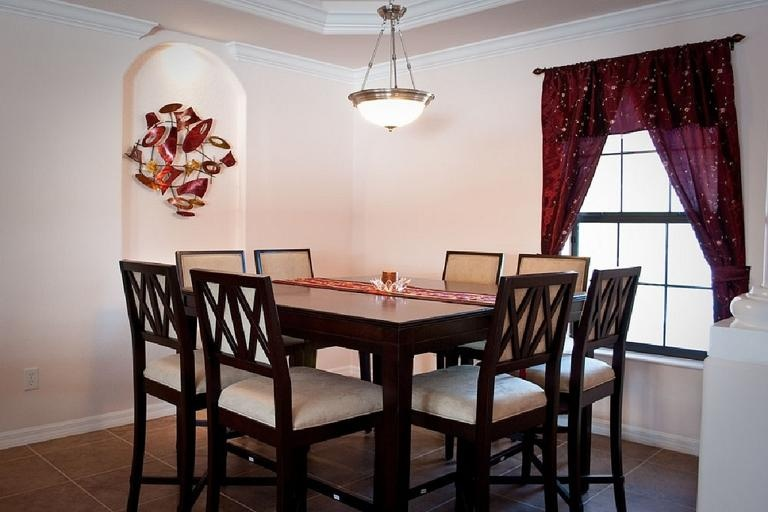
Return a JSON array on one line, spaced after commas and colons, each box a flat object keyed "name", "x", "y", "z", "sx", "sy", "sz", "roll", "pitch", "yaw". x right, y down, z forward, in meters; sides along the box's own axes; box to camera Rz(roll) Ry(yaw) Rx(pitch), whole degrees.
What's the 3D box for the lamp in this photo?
[{"name": "lamp", "x": 0.085, "y": -1.548, "z": 4.844, "sx": 0.768, "sy": 1.092, "sz": 2.149, "roll": 0, "pitch": 7, "yaw": -3}]
